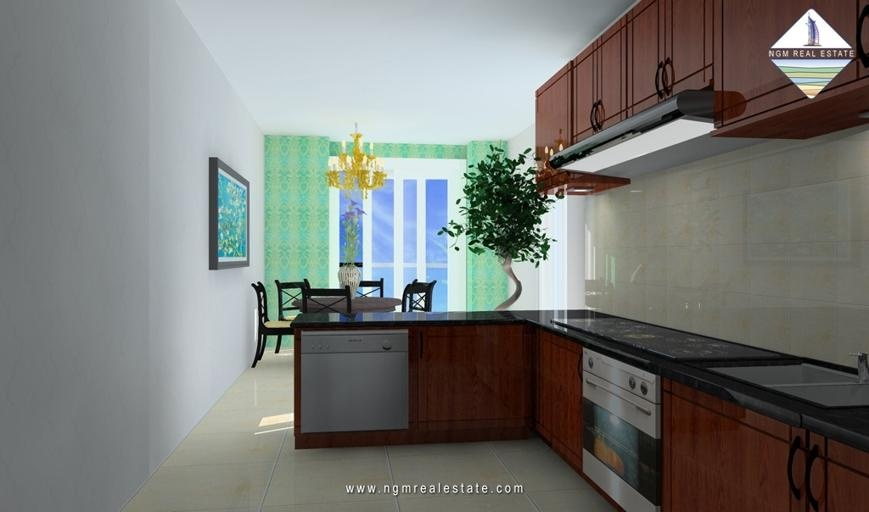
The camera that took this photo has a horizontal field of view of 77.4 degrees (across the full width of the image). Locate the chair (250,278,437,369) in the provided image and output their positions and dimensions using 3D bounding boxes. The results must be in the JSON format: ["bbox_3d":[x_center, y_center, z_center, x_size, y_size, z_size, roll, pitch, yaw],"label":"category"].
[{"bbox_3d":[-1.066,0.725,5.842,1.253,0.686,0.403,-1,4,-15],"label":"chair"}]

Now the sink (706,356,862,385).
[{"bbox_3d":[2.215,0.728,3.393,0.407,0.103,0.377,-1,-3,-2],"label":"sink"}]

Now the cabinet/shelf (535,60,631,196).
[{"bbox_3d":[1.301,-1.087,4.688,0.485,1.225,1.330,2,-6,-12],"label":"cabinet/shelf"}]

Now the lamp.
[{"bbox_3d":[-1.075,-1.292,7.311,0.865,0.928,0.802,-3,7,-43],"label":"lamp"}]

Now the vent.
[{"bbox_3d":[1.455,-0.891,3.943,0.447,0.444,1.207,-4,7,-23],"label":"vent"}]

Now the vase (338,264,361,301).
[{"bbox_3d":[-1.075,0.259,6.876,0.301,0.400,0.280,6,10,20],"label":"vase"}]
